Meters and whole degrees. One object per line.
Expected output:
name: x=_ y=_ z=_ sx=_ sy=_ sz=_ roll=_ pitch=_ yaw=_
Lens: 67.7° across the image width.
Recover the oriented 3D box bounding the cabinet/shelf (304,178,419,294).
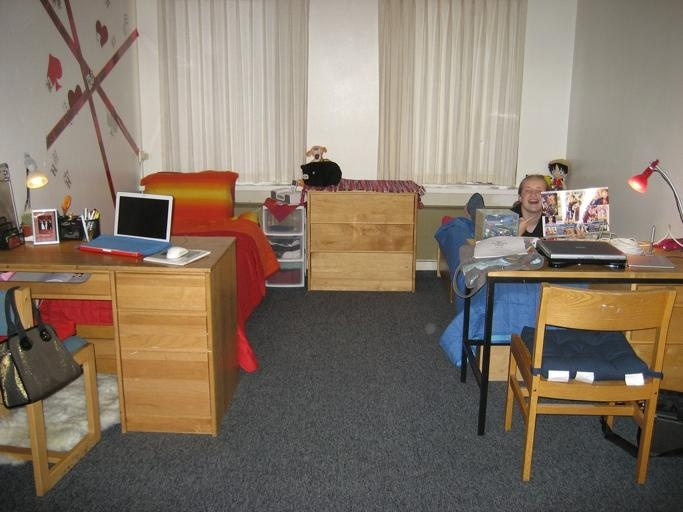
cabinet/shelf: x=0.198 y=-0.193 z=5.094 sx=1.071 sy=0.994 sz=0.624 roll=-1 pitch=16 yaw=-1

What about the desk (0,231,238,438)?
desk: x=-1.126 y=0.436 z=3.234 sx=1.747 sy=1.321 sz=0.958 roll=0 pitch=8 yaw=2

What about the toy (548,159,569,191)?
toy: x=2.172 y=-0.823 z=5.107 sx=0.204 sy=0.288 sz=0.623 roll=4 pitch=15 yaw=23

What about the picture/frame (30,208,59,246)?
picture/frame: x=-1.776 y=-0.168 z=3.037 sx=0.210 sy=0.300 sz=0.030 roll=1 pitch=7 yaw=-22

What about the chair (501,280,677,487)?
chair: x=1.298 y=0.694 z=2.623 sx=0.715 sy=1.207 sz=0.791 roll=0 pitch=33 yaw=9

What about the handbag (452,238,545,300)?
handbag: x=0.917 y=0.008 z=2.989 sx=0.450 sy=0.111 sz=0.485 roll=-8 pitch=12 yaw=-36

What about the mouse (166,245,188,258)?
mouse: x=-0.901 y=-0.024 z=2.790 sx=0.104 sy=0.043 sz=0.139 roll=-3 pitch=14 yaw=-4

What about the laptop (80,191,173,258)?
laptop: x=-1.234 y=-0.183 z=2.885 sx=0.495 sy=0.288 sz=0.349 roll=5 pitch=15 yaw=18

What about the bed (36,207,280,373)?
bed: x=-1.315 y=0.271 z=3.484 sx=1.432 sy=0.577 sz=1.519 roll=0 pitch=10 yaw=14

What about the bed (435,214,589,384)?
bed: x=1.293 y=0.100 z=4.036 sx=1.081 sy=0.422 sz=1.745 roll=9 pitch=10 yaw=6
